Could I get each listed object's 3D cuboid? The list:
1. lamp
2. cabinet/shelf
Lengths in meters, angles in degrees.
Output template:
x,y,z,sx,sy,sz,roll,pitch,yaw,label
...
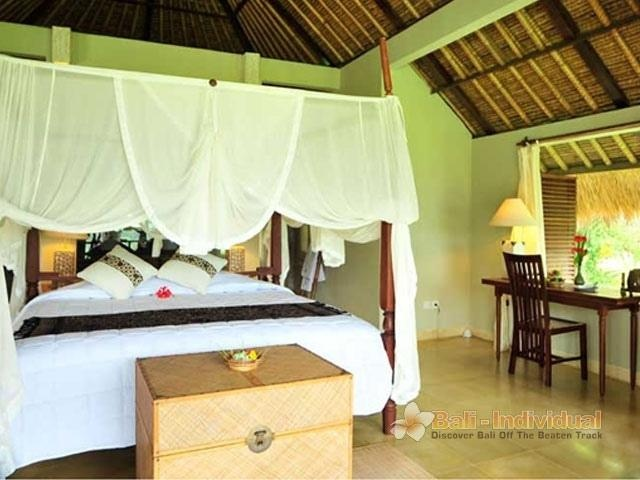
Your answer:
x,y,z,sx,sy,sz,roll,pitch,yaw,label
2.042,-0.090,5.041,0.449,0.711,0.457,3,-1,2,lamp
-0.359,0.915,2.367,0.871,0.566,0.668,0,-1,-28,cabinet/shelf
